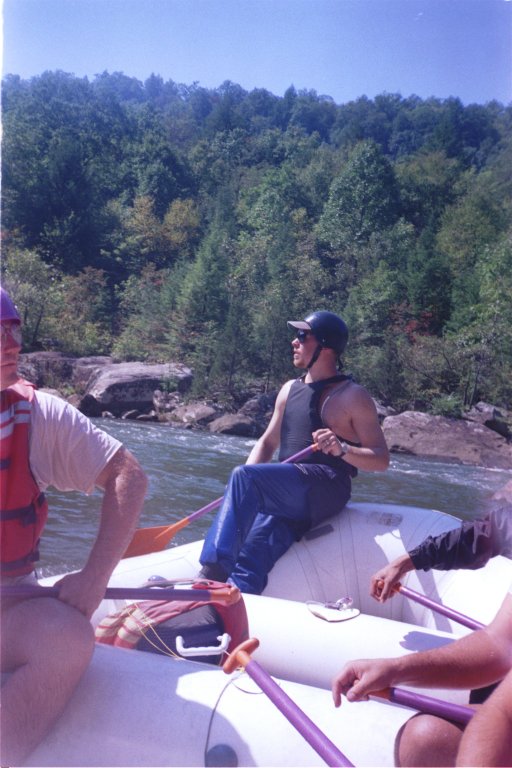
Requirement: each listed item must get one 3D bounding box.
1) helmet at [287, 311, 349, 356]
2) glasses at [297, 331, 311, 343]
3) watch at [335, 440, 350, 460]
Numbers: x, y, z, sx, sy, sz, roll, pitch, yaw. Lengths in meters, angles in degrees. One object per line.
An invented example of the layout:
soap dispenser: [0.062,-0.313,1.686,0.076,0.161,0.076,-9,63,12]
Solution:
helmet: [0.321,-0.246,3.267,0.270,0.159,0.200,22,4,-6]
glasses: [0.242,-0.238,3.264,0.053,0.059,0.021,-5,-4,32]
watch: [0.383,0.289,2.865,0.035,0.081,0.057,10,5,-28]
